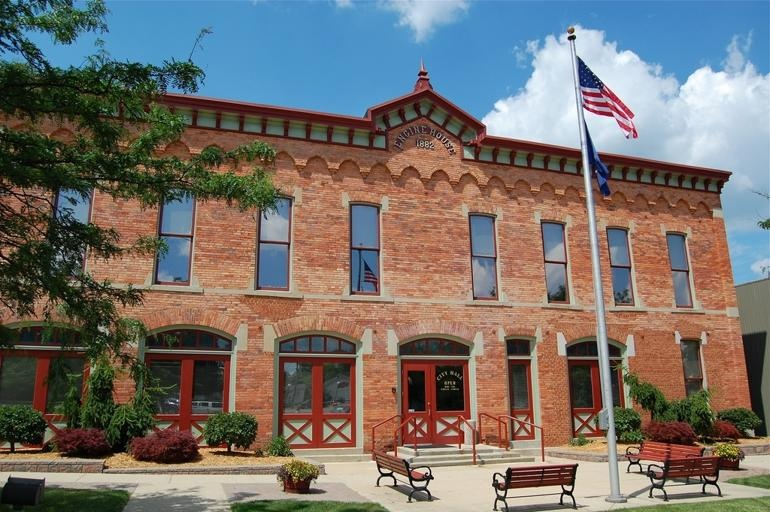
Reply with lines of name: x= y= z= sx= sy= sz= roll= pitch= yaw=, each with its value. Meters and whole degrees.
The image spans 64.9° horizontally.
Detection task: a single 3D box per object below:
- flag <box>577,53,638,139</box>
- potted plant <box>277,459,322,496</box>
flag: x=6.773 y=-5.013 z=19.007 sx=1.860 sy=2.391 sz=0.442 roll=6 pitch=-21 yaw=-21
potted plant: x=-2.487 y=6.221 z=17.152 sx=1.038 sy=0.898 sz=1.144 roll=2 pitch=-19 yaw=-9
